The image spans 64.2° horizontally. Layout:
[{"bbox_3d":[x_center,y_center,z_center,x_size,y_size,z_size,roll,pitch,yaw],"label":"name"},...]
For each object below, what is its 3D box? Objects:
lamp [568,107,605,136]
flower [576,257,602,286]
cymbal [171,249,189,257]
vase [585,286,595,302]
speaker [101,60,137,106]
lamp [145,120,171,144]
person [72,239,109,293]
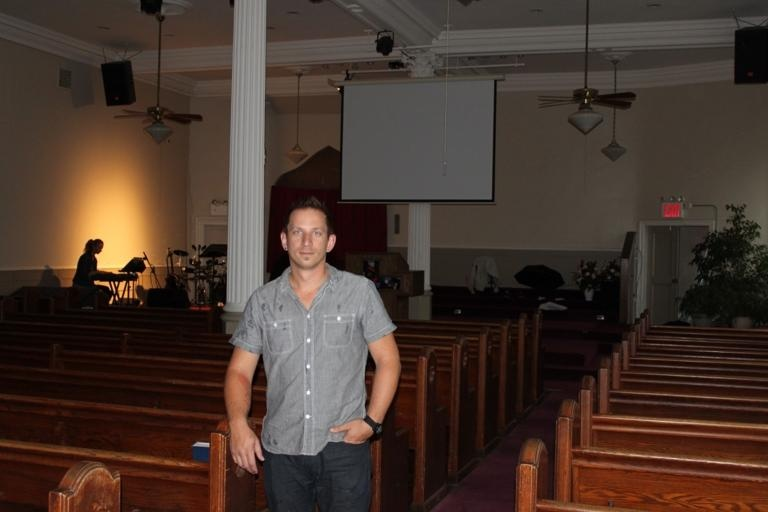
[{"bbox_3d":[3.210,-2.217,9.743,0.534,0.527,0.544,-3,9,-11],"label":"lamp"},{"bbox_3d":[4.628,0.372,13.802,0.253,0.624,0.611,-2,30,-26],"label":"flower"},{"bbox_3d":[-4.805,-0.087,14.441,0.347,0.086,0.362,-3,-7,17],"label":"cymbal"},{"bbox_3d":[4.519,0.818,13.534,0.254,0.304,0.266,1,-10,2],"label":"vase"},{"bbox_3d":[-4.758,-3.106,10.938,0.501,0.780,0.576,1,3,-30],"label":"speaker"},{"bbox_3d":[-4.181,-2.292,11.389,0.508,0.408,0.499,4,0,-37],"label":"lamp"},{"bbox_3d":[-5.998,0.124,12.353,0.490,0.950,0.788,2,3,-21],"label":"person"}]
